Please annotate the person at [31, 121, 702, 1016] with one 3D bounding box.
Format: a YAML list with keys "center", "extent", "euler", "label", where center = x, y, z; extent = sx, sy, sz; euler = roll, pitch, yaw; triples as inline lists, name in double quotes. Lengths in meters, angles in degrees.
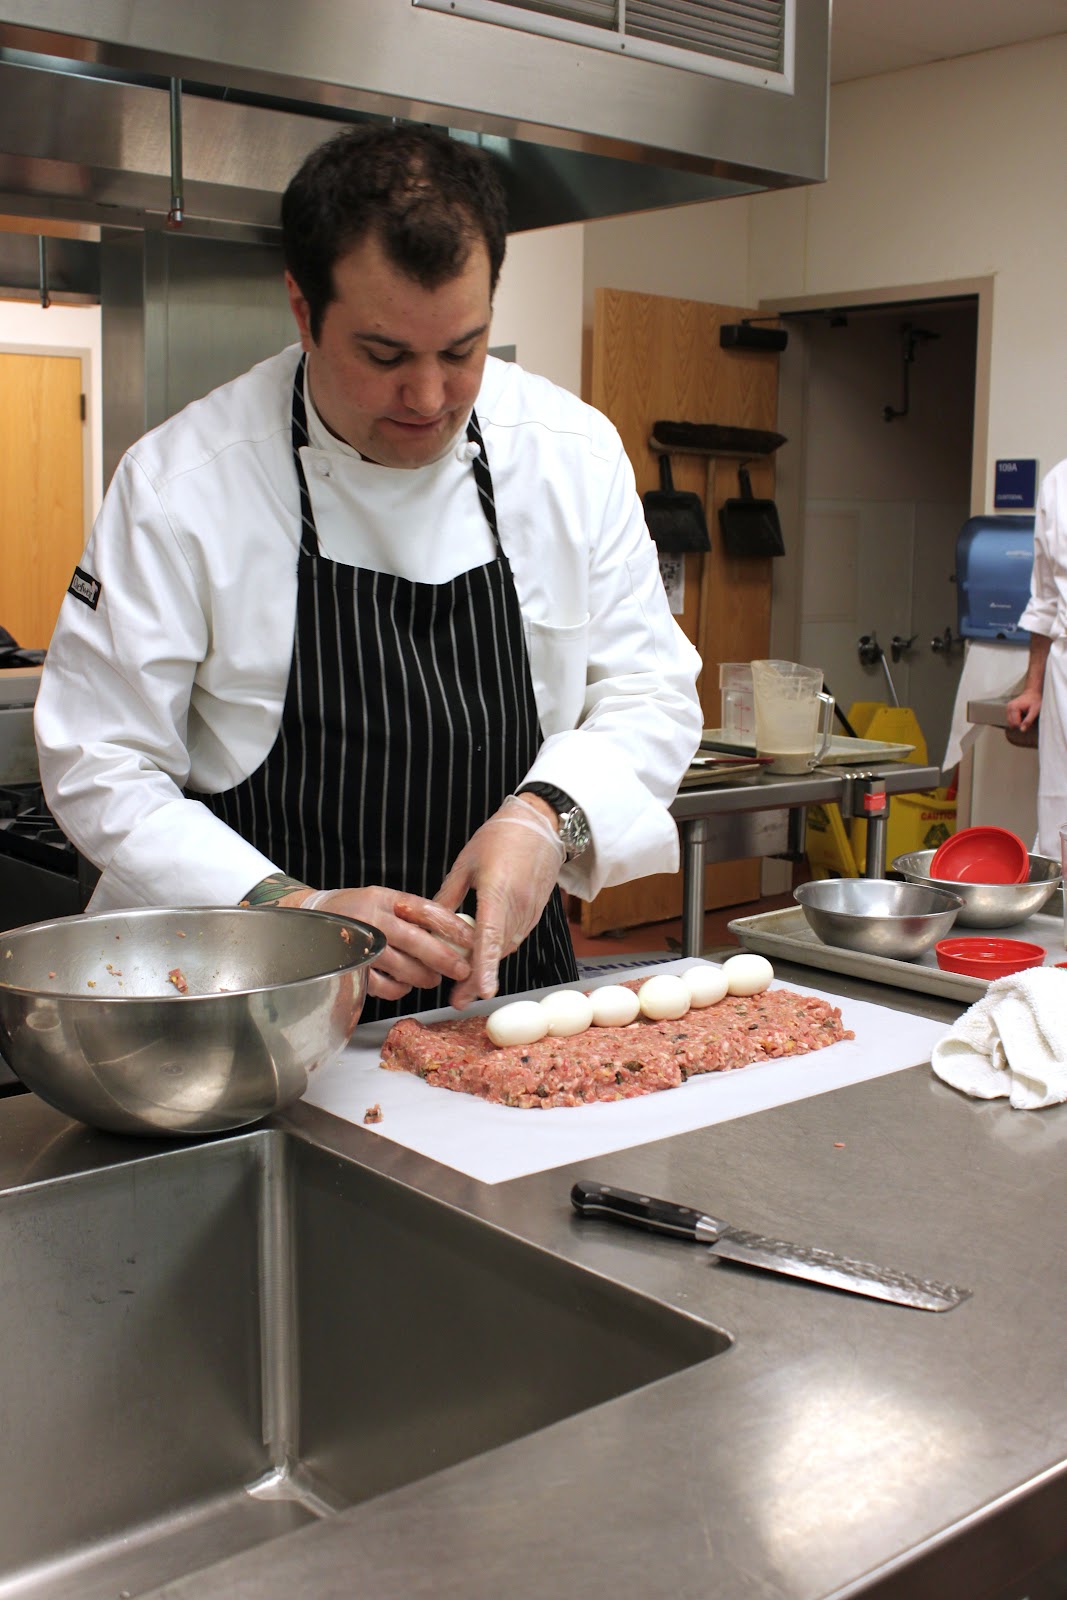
- center: [-0.172, -0.257, 1.409]
  extent: [0.554, 0.730, 0.601]
  euler: [2, 5, 26]
  label: "person"

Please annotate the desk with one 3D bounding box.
- center: [0.591, 0.021, 3.355]
  extent: [0.577, 0.543, 0.578]
  euler: [-6, 10, -23]
  label: "desk"

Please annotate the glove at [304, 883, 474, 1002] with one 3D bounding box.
- center: [-0.127, 0.120, 1.078]
  extent: [0.090, 0.054, 0.129]
  euler: [1, -5, 26]
  label: "glove"

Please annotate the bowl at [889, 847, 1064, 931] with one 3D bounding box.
- center: [0.517, 0.112, 1.537]
  extent: [0.127, 0.041, 0.125]
  euler: [1, 11, 0]
  label: "bowl"

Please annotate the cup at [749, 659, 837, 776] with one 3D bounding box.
- center: [0.636, -0.204, 3.216]
  extent: [0.158, 0.270, 0.127]
  euler: [-1, 5, -4]
  label: "cup"

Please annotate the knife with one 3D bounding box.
- center: [0.121, 0.239, 0.770]
  extent: [0.277, 0.029, 0.062]
  euler: [5, 10, 40]
  label: "knife"

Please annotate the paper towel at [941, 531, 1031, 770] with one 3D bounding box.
- center: [1.798, -0.588, 5.005]
  extent: [0.274, 1.060, 0.258]
  euler: [1, 8, 12]
  label: "paper towel"

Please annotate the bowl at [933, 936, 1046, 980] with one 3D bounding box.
- center: [0.483, 0.167, 1.364]
  extent: [0.061, 0.020, 0.059]
  euler: [-6, 17, 2]
  label: "bowl"

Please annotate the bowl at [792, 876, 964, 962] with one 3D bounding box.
- center: [0.387, 0.134, 1.426]
  extent: [0.156, 0.082, 0.157]
  euler: [0, 4, 0]
  label: "bowl"
